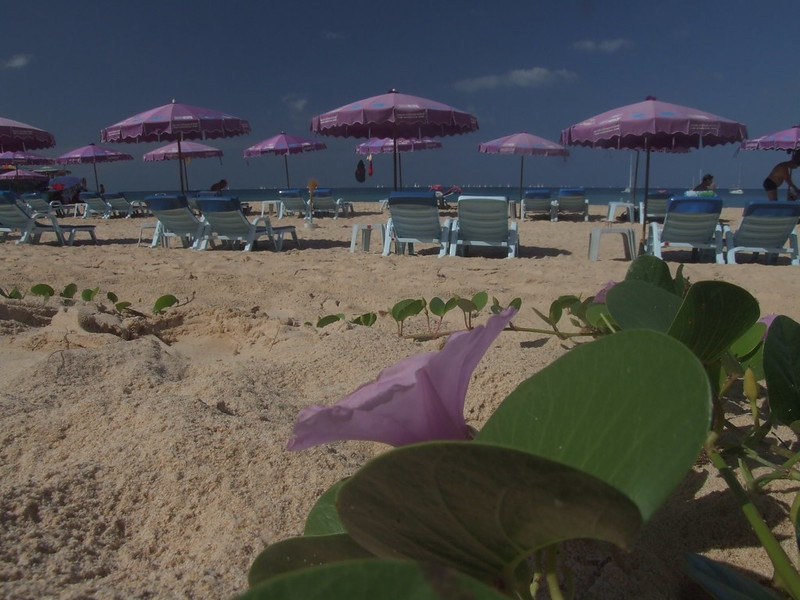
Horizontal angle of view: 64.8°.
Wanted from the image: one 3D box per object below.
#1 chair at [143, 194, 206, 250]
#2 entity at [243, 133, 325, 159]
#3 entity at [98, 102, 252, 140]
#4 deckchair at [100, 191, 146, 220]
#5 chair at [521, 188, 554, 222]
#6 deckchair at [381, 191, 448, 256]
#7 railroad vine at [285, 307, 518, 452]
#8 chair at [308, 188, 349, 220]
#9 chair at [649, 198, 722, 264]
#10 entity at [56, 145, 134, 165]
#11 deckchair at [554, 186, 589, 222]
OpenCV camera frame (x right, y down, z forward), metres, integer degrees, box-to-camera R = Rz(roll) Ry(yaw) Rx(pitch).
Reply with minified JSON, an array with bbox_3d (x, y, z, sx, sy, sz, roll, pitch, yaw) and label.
[{"bbox_3d":[-2.855,-1.050,8.195,0.589,0.579,0.893,2,13,8],"label":"chair"},{"bbox_3d":[-2.888,-3.910,15.790,1.934,0.541,1.156,-3,13,-12],"label":"entity"},{"bbox_3d":[-3.362,-2.678,9.510,1.892,0.611,1.421,3,13,15],"label":"entity"},{"bbox_3d":[-6.639,-2.240,15.191,0.765,0.577,1.285,2,16,0],"label":"deckchair"},{"bbox_3d":[2.989,-2.172,13.541,0.671,0.786,0.993,1,43,8],"label":"chair"},{"bbox_3d":[0.205,-0.885,7.182,0.702,0.801,0.695,3,9,11],"label":"deckchair"},{"bbox_3d":[-0.002,0.105,0.714,0.208,0.082,0.196,-29,-2,18],"label":"railroad vine"},{"bbox_3d":[-1.626,-2.237,14.664,0.640,0.519,1.246,2,20,5],"label":"chair"},{"bbox_3d":[3.119,-0.759,6.778,0.792,0.729,0.932,6,14,25],"label":"chair"},{"bbox_3d":[-8.654,-4.108,17.636,1.379,0.526,2.114,0,12,1],"label":"entity"},{"bbox_3d":[3.776,-2.053,13.443,0.784,0.870,1.055,2,37,9],"label":"deckchair"}]
